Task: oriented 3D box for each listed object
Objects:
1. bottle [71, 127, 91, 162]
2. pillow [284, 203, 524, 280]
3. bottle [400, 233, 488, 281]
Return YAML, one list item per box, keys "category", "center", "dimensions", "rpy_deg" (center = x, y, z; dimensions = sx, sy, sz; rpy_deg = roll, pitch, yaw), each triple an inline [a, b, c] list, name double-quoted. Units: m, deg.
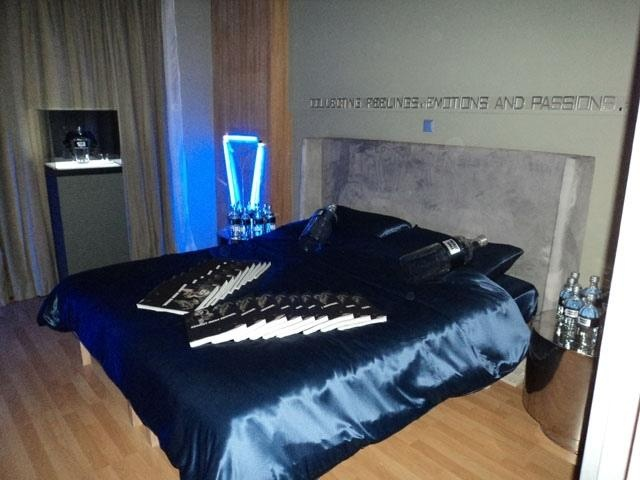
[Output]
- category: "bottle"
  center: [-2.271, -0.904, 4.666]
  dimensions: [0.163, 0.334, 0.072]
  rpy_deg: [-10, 17, -32]
- category: "pillow"
  center: [0.505, 0.031, 3.300]
  dimensions: [1.040, 0.294, 0.650]
  rpy_deg: [10, 27, 36]
- category: "bottle"
  center: [0.787, 0.081, 3.063]
  dimensions: [0.520, 0.184, 0.242]
  rpy_deg: [-26, 27, -15]
